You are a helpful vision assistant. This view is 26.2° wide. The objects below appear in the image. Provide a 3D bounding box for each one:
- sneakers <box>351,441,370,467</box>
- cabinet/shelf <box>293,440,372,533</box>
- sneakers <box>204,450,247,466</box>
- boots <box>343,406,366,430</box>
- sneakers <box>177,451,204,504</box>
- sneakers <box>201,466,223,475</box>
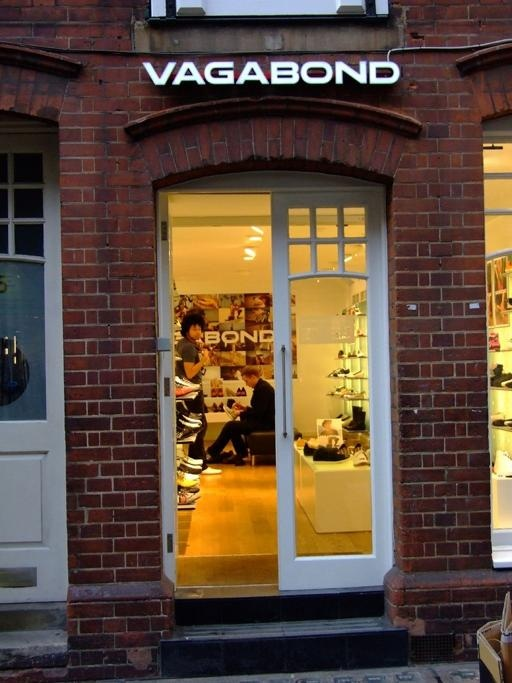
[{"bbox_3d":[0.663,0.732,7.089,0.102,0.142,0.051,-5,0,35],"label":"sneakers"},{"bbox_3d":[0.484,0.989,7.104,0.467,0.494,0.159,-1,-2,1],"label":"cabinet/shelf"},{"bbox_3d":[-0.327,1.246,11.776,0.450,0.157,0.150,3,-11,5],"label":"sneakers"},{"bbox_3d":[0.638,0.509,7.133,0.167,0.137,0.122,1,-3,8],"label":"boots"},{"bbox_3d":[-0.547,1.120,9.002,0.190,0.168,0.544,-2,6,-7],"label":"sneakers"},{"bbox_3d":[-0.485,1.293,10.966,0.293,0.103,0.099,0,5,-6],"label":"sneakers"}]
